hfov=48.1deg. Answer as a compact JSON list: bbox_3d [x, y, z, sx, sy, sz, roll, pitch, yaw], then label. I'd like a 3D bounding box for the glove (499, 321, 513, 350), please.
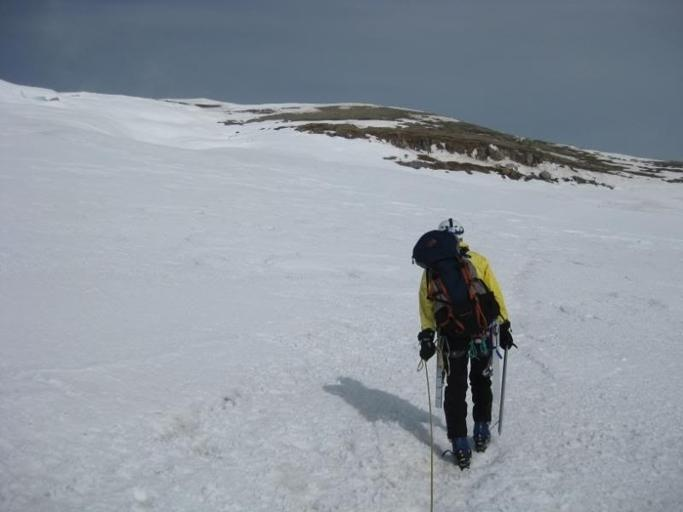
[{"bbox_3d":[3.098,1.516,14.612,0.161,0.475,0.354,-3,-3,8],"label":"glove"}]

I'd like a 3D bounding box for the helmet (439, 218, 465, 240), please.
[{"bbox_3d":[2.100,-0.497,14.903,0.423,0.484,0.547,2,9,11],"label":"helmet"}]
